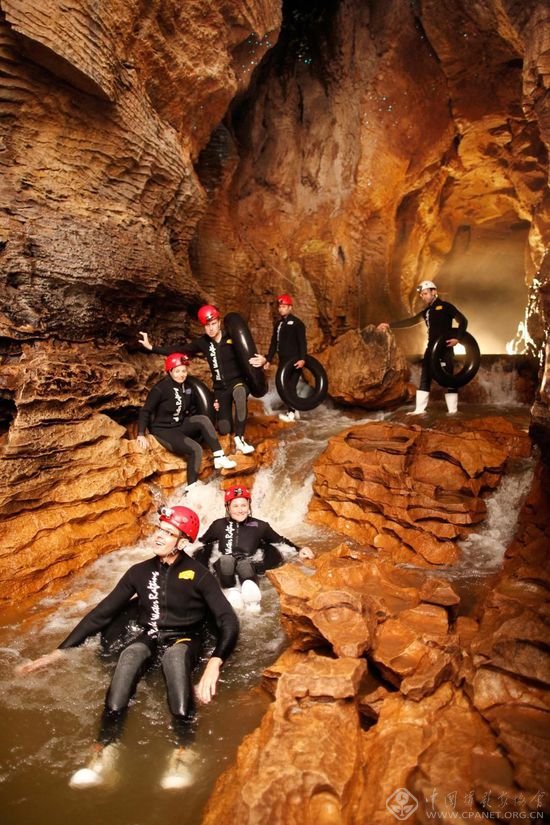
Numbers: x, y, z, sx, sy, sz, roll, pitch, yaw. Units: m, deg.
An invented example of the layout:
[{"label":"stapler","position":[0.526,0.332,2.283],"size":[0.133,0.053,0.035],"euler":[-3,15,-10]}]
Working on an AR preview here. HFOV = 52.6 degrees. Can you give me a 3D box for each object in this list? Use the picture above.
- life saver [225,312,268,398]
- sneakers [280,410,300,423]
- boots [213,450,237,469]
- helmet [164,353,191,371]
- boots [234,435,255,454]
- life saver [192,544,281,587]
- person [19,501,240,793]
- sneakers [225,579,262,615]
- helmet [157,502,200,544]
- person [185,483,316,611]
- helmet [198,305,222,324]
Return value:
[{"label":"life saver","position":[-0.361,-0.775,7.357],"size":[0.564,1.083,0.516],"euler":[3,6,-36]},{"label":"sneakers","position":[0.227,0.059,9.218],"size":[0.152,0.142,0.333],"euler":[2,-6,30]},{"label":"boots","position":[-0.622,0.598,6.889],"size":[0.267,0.276,0.422],"euler":[6,5,-1]},{"label":"helmet","position":[-1.221,-0.595,6.717],"size":[0.241,0.188,0.235],"euler":[-10,-1,35]},{"label":"boots","position":[-0.444,0.418,7.370],"size":[0.134,0.168,0.352],"euler":[-27,17,-22]},{"label":"life saver","position":[-0.333,1.278,4.637],"size":[0.580,0.196,0.647],"euler":[10,2,-5]},{"label":"person","position":[-0.856,1.303,3.343],"size":[1.207,0.927,1.598],"euler":[1,7,-7]},{"label":"sneakers","position":[-0.245,1.482,4.442],"size":[0.142,0.183,0.446],"euler":[-2,-11,-24]},{"label":"helmet","position":[-0.663,0.748,3.844],"size":[0.214,0.227,0.291],"euler":[0,-23,47]},{"label":"person","position":[-0.309,1.106,4.852],"size":[0.908,0.536,0.964],"euler":[-6,-1,0]},{"label":"helmet","position":[-0.848,-1.230,7.155],"size":[0.248,0.190,0.363],"euler":[-24,9,-9]}]
